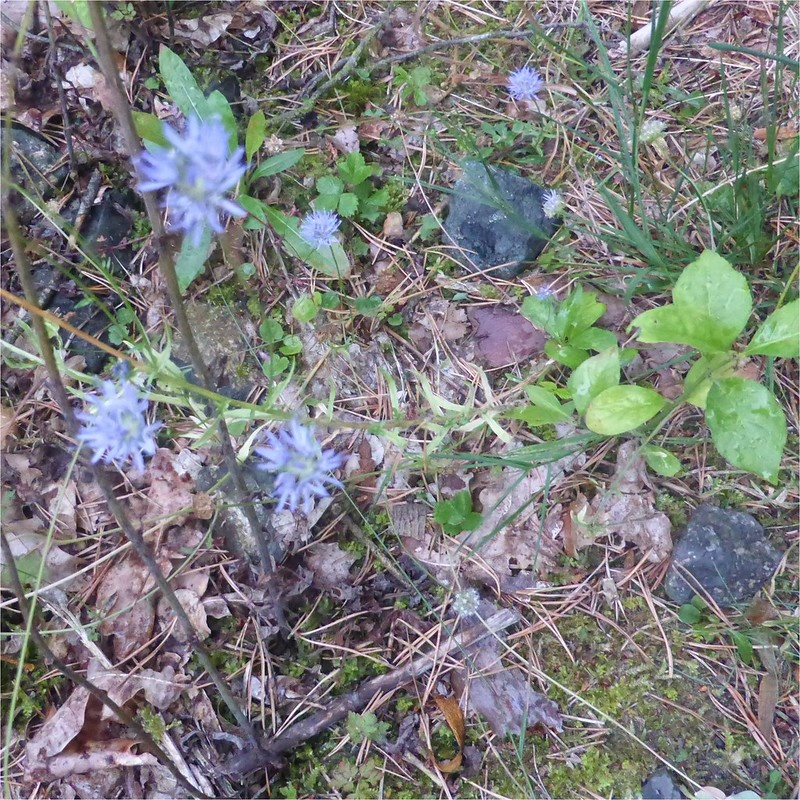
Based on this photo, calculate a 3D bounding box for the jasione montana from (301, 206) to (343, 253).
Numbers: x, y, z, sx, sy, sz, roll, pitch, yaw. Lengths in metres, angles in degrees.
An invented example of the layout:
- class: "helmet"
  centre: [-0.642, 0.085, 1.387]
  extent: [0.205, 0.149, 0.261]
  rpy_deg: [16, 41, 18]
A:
- class: "jasione montana"
  centre: [-0.281, -0.591, 2.788]
  extent: [0.146, 0.209, 0.180]
  rpy_deg: [-2, 70, -5]

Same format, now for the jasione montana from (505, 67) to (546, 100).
- class: "jasione montana"
  centre: [0.453, -1.139, 2.919]
  extent: [0.128, 0.060, 0.132]
  rpy_deg: [0, 81, -3]
